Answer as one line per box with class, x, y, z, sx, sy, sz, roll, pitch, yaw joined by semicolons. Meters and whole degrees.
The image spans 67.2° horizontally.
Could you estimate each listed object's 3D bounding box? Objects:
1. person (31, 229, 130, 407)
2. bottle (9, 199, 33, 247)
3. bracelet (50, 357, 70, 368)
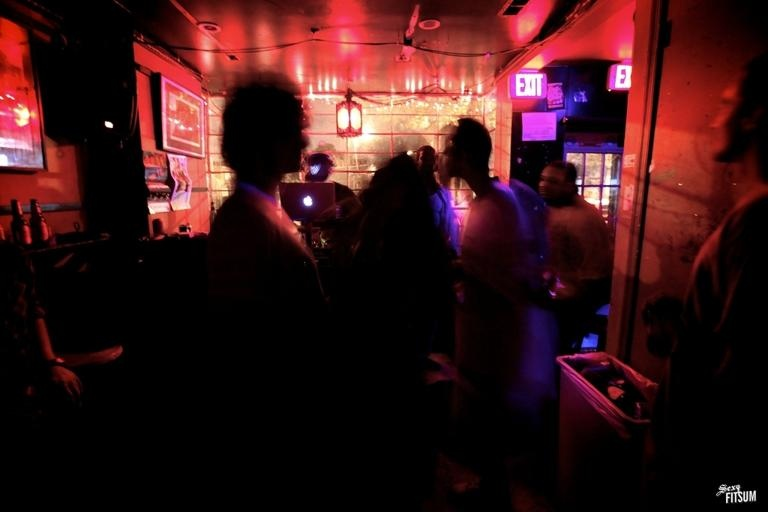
person;-2.990;0.598;6.183;0.505;1.602;1.263;-4;-3;16
bottle;-3.530;-0.322;5.621;0.170;0.419;0.324;-9;15;-32
bracelet;-2.757;0.899;4.918;0.091;0.089;0.112;2;13;13
